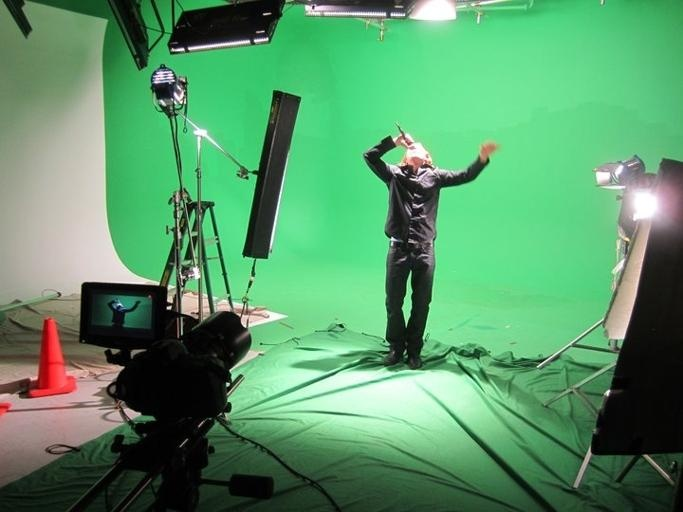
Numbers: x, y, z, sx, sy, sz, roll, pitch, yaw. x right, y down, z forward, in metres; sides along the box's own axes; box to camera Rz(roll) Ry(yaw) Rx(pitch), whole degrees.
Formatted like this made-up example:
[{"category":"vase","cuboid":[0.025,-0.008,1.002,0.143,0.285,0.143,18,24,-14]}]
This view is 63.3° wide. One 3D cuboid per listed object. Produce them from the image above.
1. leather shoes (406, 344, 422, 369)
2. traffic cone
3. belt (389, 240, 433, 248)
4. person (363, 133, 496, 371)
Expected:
[{"category":"leather shoes","cuboid":[0.646,0.908,4.948,0.134,0.211,0.114,4,1,7]},{"category":"traffic cone","cuboid":[-2.309,0.828,4.456,0.332,0.592,0.161,4,1,-29]},{"category":"belt","cuboid":[0.613,-0.100,4.898,0.367,0.075,0.124,4,1,0]},{"category":"person","cuboid":[0.655,-0.055,4.988,1.035,2.121,0.318,4,0,9]}]
